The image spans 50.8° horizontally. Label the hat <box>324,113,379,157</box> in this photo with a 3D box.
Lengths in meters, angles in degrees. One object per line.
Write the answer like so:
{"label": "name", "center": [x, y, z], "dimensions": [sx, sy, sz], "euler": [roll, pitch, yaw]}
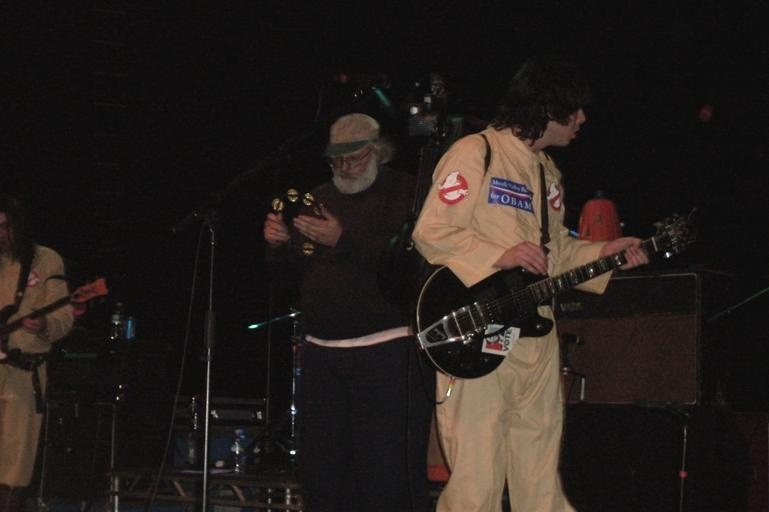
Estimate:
{"label": "hat", "center": [-0.230, -0.820, 5.545], "dimensions": [0.269, 0.181, 0.352], "euler": [-10, 12, 38]}
